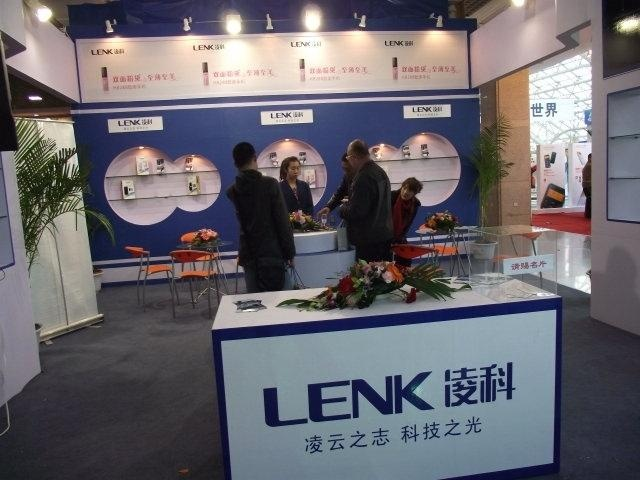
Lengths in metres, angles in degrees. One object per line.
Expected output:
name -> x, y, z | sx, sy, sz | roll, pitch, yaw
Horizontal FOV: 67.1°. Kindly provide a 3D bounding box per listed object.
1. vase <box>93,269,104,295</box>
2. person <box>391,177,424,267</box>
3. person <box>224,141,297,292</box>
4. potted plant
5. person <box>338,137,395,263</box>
vase -> -3.640, 0.668, 7.976 | 0.109, 0.338, 0.444 | -7, 14, -21
person -> 1.044, -0.321, 5.800 | 0.348, 0.838, 0.520 | -1, 13, 9
person -> -0.514, -0.200, 4.291 | 0.556, 1.318, 0.393 | 8, 16, 40
potted plant -> 3.296, -1.314, 9.256 | 0.685, 2.104, 1.958 | 2, 14, 22
person -> 0.471, -0.379, 4.916 | 0.529, 1.251, 0.413 | -1, 12, 8
